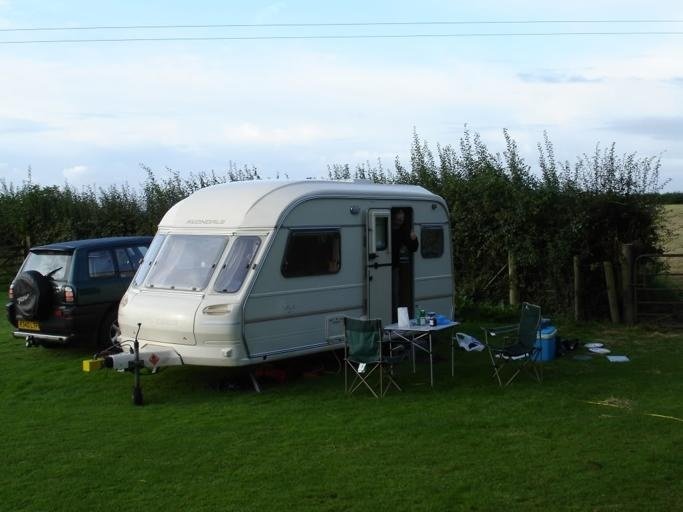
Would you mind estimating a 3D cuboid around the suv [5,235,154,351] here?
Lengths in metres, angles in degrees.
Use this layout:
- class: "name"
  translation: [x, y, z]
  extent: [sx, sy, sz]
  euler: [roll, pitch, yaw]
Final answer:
- class: "suv"
  translation: [-4.939, 0.575, 11.148]
  extent: [1.569, 1.163, 3.079]
  euler: [1, 5, 38]

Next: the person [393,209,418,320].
- class: "person"
  translation: [1.075, 0.111, 11.253]
  extent: [0.679, 1.911, 0.306]
  euler: [-8, 10, -38]

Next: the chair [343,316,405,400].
- class: "chair"
  translation: [0.514, 1.440, 9.176]
  extent: [0.919, 1.102, 0.981]
  euler: [-2, -6, 27]

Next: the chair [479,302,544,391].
- class: "chair"
  translation: [2.579, 1.326, 9.631]
  extent: [0.814, 1.025, 0.854]
  euler: [-9, 4, -10]
